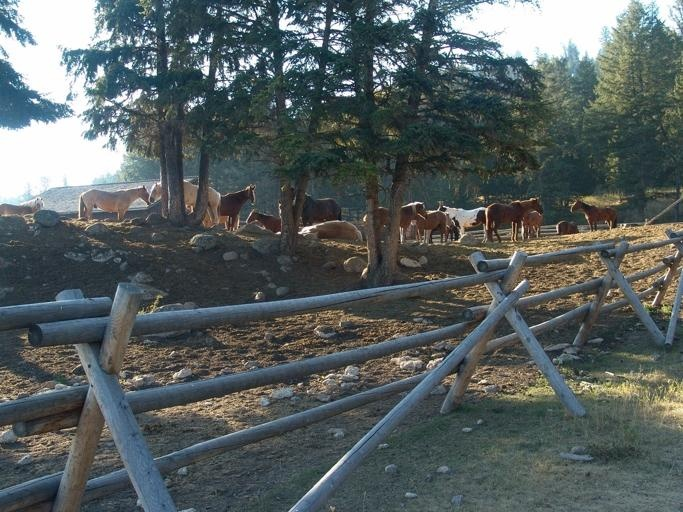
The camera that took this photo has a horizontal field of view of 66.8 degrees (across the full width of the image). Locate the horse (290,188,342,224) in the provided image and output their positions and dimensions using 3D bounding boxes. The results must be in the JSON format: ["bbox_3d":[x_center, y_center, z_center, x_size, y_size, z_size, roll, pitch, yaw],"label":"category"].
[{"bbox_3d":[-0.959,-1.559,19.472,2.431,1.351,0.606,-3,9,-41],"label":"horse"}]

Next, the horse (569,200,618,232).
[{"bbox_3d":[11.850,-1.934,24.081,1.558,1.407,2.612,-5,4,33],"label":"horse"}]

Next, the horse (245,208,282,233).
[{"bbox_3d":[-2.891,-1.297,19.102,1.019,0.732,0.721,-6,3,17],"label":"horse"}]
